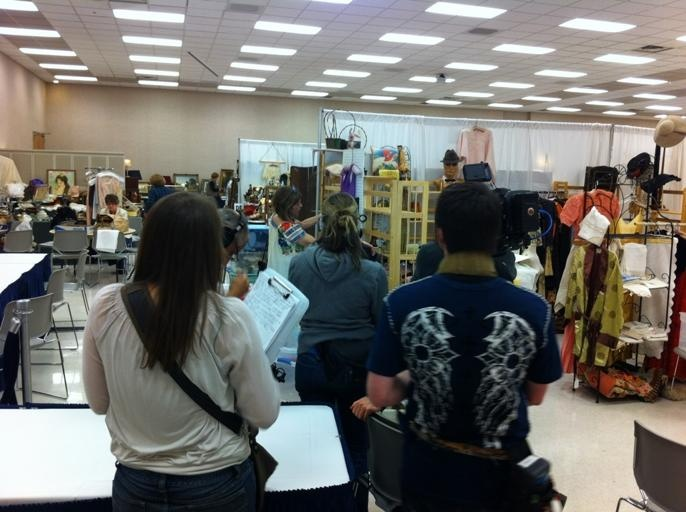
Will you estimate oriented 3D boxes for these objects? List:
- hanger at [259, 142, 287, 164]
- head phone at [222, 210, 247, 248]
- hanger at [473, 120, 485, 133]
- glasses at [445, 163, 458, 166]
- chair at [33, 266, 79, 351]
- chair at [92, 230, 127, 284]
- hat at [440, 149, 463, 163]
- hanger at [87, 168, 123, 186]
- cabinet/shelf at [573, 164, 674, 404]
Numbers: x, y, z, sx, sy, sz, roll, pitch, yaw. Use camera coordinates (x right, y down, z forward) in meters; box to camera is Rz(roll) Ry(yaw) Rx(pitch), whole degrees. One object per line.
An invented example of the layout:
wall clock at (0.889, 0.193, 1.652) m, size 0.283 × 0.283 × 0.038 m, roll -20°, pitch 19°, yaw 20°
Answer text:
hanger at (-1.368, -2.104, 10.113) m, size 0.627 × 0.459 × 0.023 m, roll 0°, pitch 5°, yaw -16°
head phone at (-0.380, -0.103, 1.842) m, size 0.095 × 0.113 × 0.123 m, roll 1°, pitch -12°, yaw 0°
hanger at (1.677, -1.626, 6.269) m, size 0.166 × 0.117 × 0.013 m, roll -2°, pitch 0°, yaw -28°
glasses at (1.227, -1.059, 5.754) m, size 0.126 × 0.027 × 0.050 m, roll 2°, pitch 9°, yaw 0°
chair at (-2.910, 0.552, 5.071) m, size 0.567 × 0.751 × 0.547 m, roll -4°, pitch -10°, yaw -25°
chair at (-3.632, -0.051, 8.004) m, size 0.481 × 0.837 × 0.524 m, roll 2°, pitch 7°, yaw -5°
hat at (1.248, -1.153, 5.798) m, size 0.167 × 0.184 × 0.262 m, roll 6°, pitch 10°, yaw 22°
hanger at (-4.569, -1.554, 9.796) m, size 0.702 × 0.346 × 0.928 m, roll -2°, pitch 5°, yaw -13°
cabinet/shelf at (2.682, 0.253, 5.040) m, size 0.932 × 2.021 × 1.650 m, roll 6°, pitch 10°, yaw 24°
